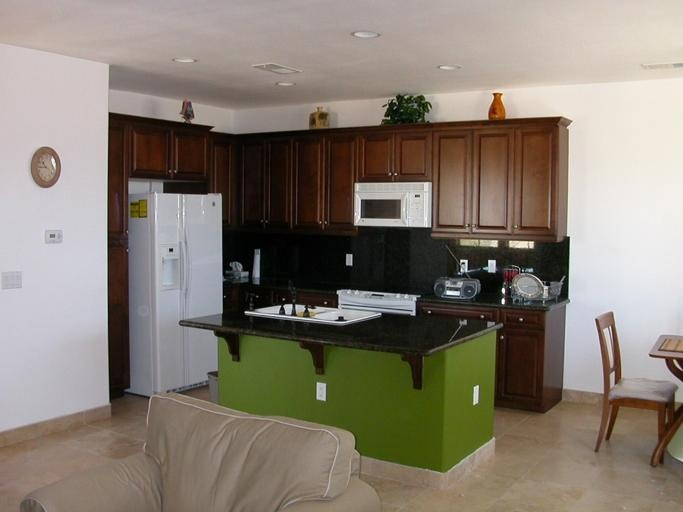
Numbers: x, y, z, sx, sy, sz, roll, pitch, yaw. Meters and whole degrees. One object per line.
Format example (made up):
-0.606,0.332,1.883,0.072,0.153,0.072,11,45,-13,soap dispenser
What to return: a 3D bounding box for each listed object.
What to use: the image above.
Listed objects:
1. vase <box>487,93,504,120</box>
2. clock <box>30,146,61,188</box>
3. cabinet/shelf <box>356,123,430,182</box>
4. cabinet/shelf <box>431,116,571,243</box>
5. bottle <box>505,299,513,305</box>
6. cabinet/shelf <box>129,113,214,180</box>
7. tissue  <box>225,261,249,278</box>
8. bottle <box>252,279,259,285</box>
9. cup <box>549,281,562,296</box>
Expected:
1.682,-1.621,5.907,0.182,0.352,0.404,2,6,15,vase
-2.638,-0.788,4.857,0.031,0.372,0.254,4,7,38,clock
0.620,-1.191,6.225,0.674,0.505,0.269,2,2,28,cabinet/shelf
1.733,-0.823,5.764,1.313,1.198,0.485,1,0,27,cabinet/shelf
1.721,0.482,5.606,0.050,0.053,0.093,0,1,-3,bottle
-1.974,-1.235,6.223,0.286,0.531,0.841,3,6,32,cabinet/shelf
-1.405,0.190,7.339,0.186,0.239,0.318,0,-3,-39,tissue 
-1.108,0.326,7.020,0.103,0.103,0.055,0,-2,-43,bottle
2.254,0.341,5.721,0.149,0.148,0.132,1,5,30,cup
